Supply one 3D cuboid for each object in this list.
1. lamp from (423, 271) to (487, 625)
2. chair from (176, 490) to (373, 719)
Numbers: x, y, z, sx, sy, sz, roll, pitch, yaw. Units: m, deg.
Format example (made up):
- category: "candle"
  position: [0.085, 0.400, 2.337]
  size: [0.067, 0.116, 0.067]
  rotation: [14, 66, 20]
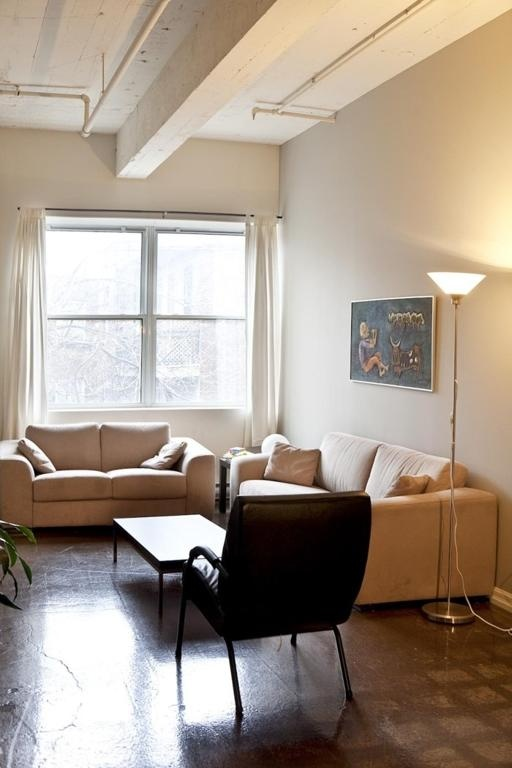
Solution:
- category: "lamp"
  position: [1.148, 0.333, 3.412]
  size: [0.349, 1.950, 0.783]
  rotation: [-1, -5, 22]
- category: "chair"
  position: [0.131, 0.779, 2.119]
  size: [0.537, 0.777, 0.279]
  rotation: [3, -5, -24]
